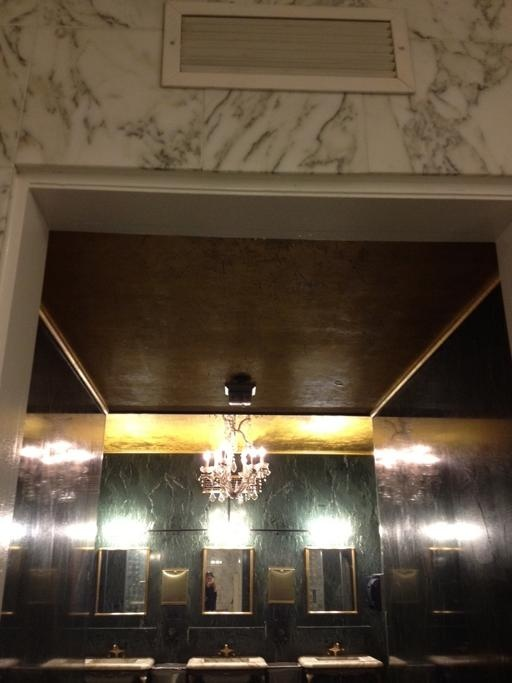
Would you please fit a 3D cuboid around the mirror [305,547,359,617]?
[{"bbox_3d":[0.834,2.737,6.394,0.731,0.914,0.063,-1,-34,0],"label":"mirror"}]

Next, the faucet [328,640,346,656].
[{"bbox_3d":[0.872,3.327,6.161,0.104,0.129,0.146,3,-16,10],"label":"faucet"}]

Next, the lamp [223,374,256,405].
[{"bbox_3d":[-0.095,0.286,3.420,0.199,0.199,0.277,-1,3,1],"label":"lamp"}]

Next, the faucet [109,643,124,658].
[{"bbox_3d":[-1.491,3.302,6.052,0.114,0.140,0.049,-1,-55,-7],"label":"faucet"}]

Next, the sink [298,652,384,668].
[{"bbox_3d":[0.863,3.366,5.940,0.848,0.112,0.421,1,-24,-4],"label":"sink"}]

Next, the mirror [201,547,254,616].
[{"bbox_3d":[-0.331,2.703,6.323,0.688,0.888,0.061,1,-31,-3],"label":"mirror"}]

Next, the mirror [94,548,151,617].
[{"bbox_3d":[-1.494,2.671,6.319,0.595,0.682,0.079,-4,-23,8],"label":"mirror"}]
